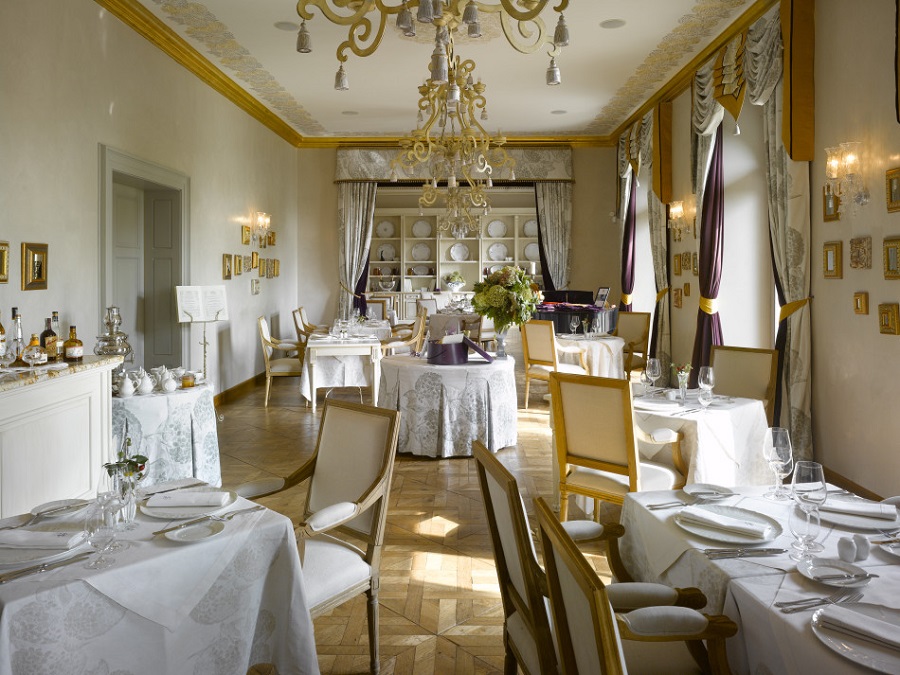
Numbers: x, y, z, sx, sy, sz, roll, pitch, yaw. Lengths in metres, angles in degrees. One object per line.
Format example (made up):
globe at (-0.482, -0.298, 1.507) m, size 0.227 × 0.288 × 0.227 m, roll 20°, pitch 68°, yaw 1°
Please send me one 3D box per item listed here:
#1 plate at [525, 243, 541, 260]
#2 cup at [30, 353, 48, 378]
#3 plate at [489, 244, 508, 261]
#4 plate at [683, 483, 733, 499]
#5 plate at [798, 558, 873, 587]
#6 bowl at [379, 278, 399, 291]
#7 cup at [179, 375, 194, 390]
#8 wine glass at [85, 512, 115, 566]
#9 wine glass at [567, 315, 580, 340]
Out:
plate at (1.654, -1.732, 13.006) m, size 0.282 × 0.355 × 0.124 m, roll 0°, pitch 8°, yaw 4°
cup at (-2.471, 0.171, 3.859) m, size 0.110 × 0.204 × 0.117 m, roll 0°, pitch 2°, yaw 0°
plate at (0.964, -1.737, 13.039) m, size 0.394 × 0.356 × 0.180 m, roll -1°, pitch 8°, yaw 3°
plate at (1.121, 0.675, 2.808) m, size 0.100 × 0.013 × 0.110 m, roll -3°, pitch 4°, yaw -8°
plate at (1.279, 0.794, 2.160) m, size 0.112 × 0.019 × 0.121 m, roll -3°, pitch 3°, yaw 9°
bowl at (-1.192, -1.064, 12.880) m, size 0.365 × 0.271 × 0.342 m, roll -1°, pitch 8°, yaw 0°
cup at (-1.945, 0.331, 4.756) m, size 0.085 × 0.098 × 0.091 m, roll 0°, pitch 2°, yaw 0°
wine glass at (-1.238, 0.690, 2.279) m, size 0.090 × 0.198 × 0.127 m, roll -6°, pitch 9°, yaw -33°
wine glass at (1.691, -0.167, 8.765) m, size 0.211 × 0.401 × 0.229 m, roll -1°, pitch 2°, yaw 22°
